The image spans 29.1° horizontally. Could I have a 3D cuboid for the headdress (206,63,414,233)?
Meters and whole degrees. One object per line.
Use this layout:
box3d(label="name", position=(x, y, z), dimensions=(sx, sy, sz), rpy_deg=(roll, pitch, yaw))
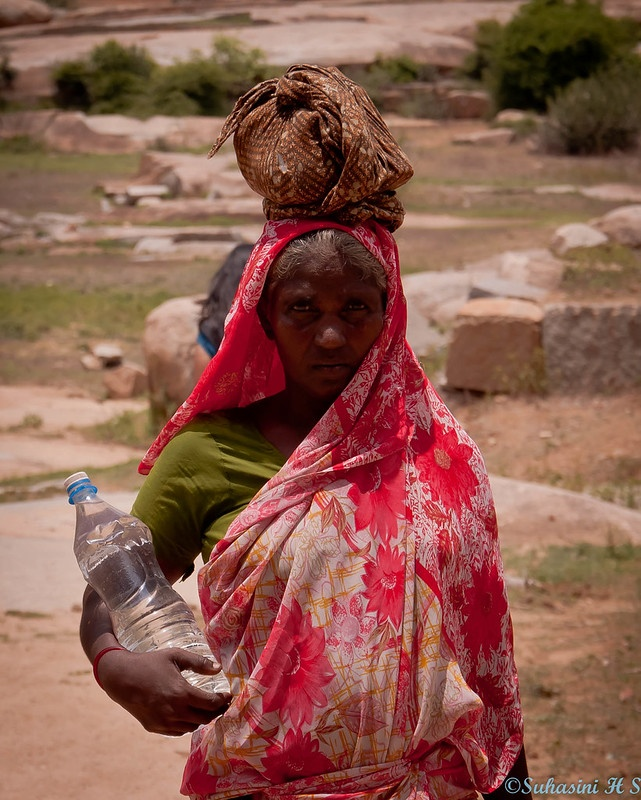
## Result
box3d(label="headdress", position=(-0.023, -0.611, 2.984), dimensions=(0.481, 0.401, 0.269), rpy_deg=(-2, 9, -5))
